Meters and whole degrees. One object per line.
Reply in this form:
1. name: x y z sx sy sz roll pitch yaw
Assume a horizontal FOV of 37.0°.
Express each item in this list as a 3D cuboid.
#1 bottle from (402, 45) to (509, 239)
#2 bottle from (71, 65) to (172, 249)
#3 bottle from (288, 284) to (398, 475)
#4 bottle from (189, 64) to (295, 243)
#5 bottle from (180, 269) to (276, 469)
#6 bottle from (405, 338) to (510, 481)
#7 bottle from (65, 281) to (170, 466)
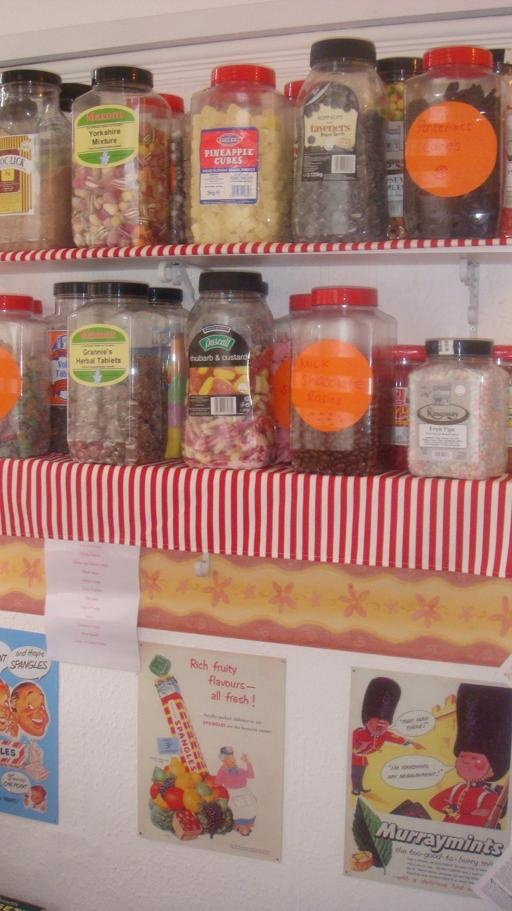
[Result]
1. bottle: 0.246 -0.389 0.968 0.120 0.230 0.073 0 12 15
2. bottle: -0.199 -0.434 1.124 0.156 0.252 0.094 -5 12 -12
3. bottle: 0.134 -0.105 1.073 0.180 0.255 0.143 -5 12 -11
4. bottle: -0.025 -0.414 1.062 0.141 0.236 0.086 -3 12 -1
5. bottle: -0.045 -0.124 1.123 0.141 0.282 0.131 -3 12 1
6. bottle: 0.272 -0.057 0.990 0.141 0.186 0.091 -6 12 -16
7. bottle: -0.210 -0.108 1.158 0.160 0.250 0.106 -4 12 -7
